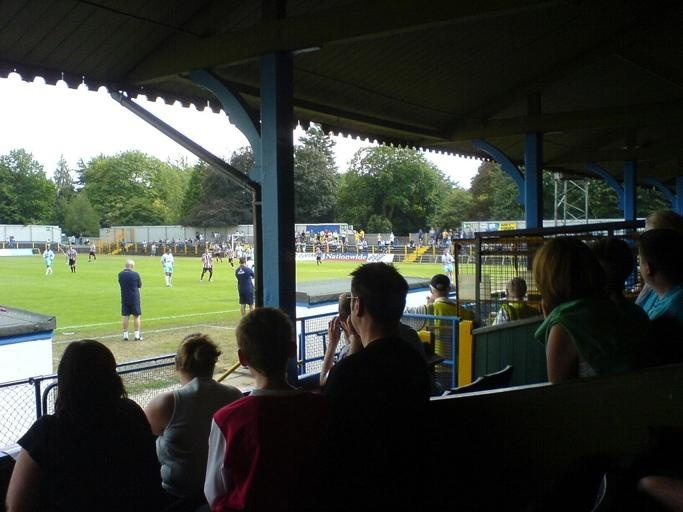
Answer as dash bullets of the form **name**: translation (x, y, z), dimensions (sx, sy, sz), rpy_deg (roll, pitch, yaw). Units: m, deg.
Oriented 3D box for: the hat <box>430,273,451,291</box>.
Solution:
- **hat**: translation (1.204, 0.299, 7.424), dimensions (0.160, 0.134, 0.228), rpy_deg (-2, 22, -3)
